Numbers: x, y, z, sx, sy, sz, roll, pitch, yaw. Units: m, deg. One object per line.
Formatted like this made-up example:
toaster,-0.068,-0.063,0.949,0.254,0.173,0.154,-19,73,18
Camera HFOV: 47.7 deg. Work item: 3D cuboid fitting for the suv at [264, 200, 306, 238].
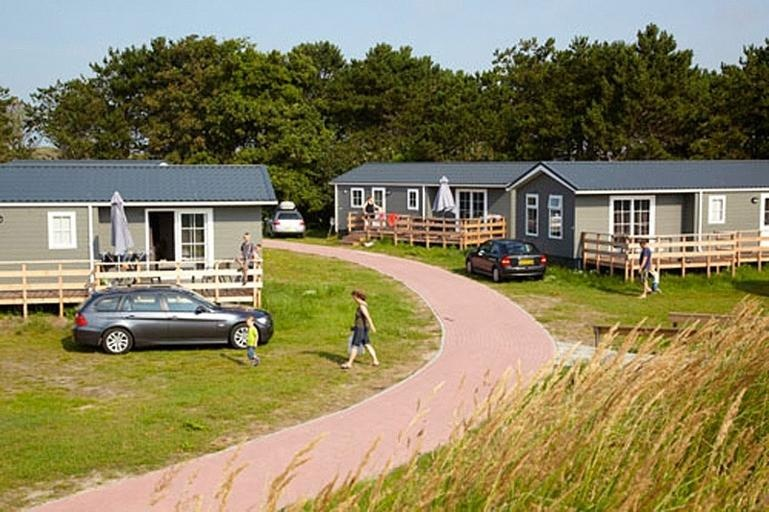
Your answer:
suv,-6.245,-2.238,54.816,2.076,2.135,2.857,-3,6,-16

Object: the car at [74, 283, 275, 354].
car,-6.437,1.874,26.489,5.359,1.788,2.312,-1,2,-13

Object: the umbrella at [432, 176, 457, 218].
umbrella,3.356,-3.178,47.592,1.196,2.242,2.903,-1,6,5

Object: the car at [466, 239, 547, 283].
car,5.142,0.143,37.259,1.789,1.738,3.262,-6,7,-36

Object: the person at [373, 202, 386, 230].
person,-0.476,-2.251,50.421,1.136,1.548,1.556,1,-1,0

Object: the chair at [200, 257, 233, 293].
chair,-6.017,0.645,31.545,1.183,0.817,1.253,-5,4,6

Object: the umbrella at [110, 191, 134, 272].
umbrella,-9.148,-0.855,30.326,0.702,2.701,2.068,-3,6,-16
